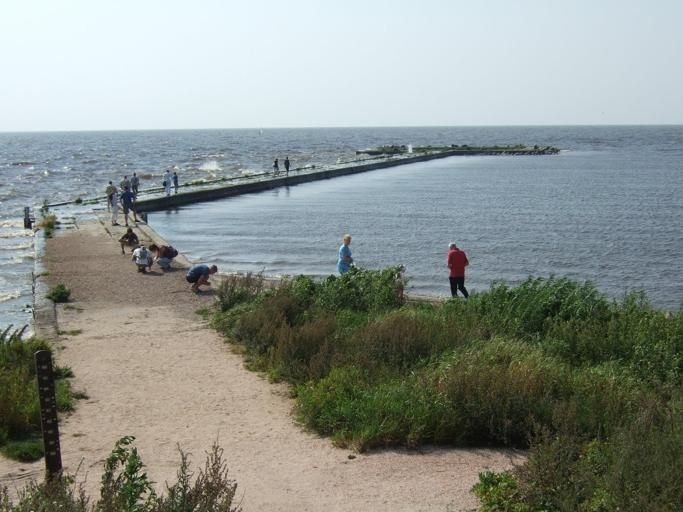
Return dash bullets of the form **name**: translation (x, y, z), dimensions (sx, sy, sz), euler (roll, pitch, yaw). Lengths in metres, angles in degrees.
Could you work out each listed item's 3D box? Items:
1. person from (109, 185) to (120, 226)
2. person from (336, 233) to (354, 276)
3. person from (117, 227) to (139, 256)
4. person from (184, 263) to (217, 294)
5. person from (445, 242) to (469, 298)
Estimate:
- **person**: translation (-8.553, -2.041, 32.177), dimensions (0.372, 1.500, 2.331), euler (1, 12, -15)
- **person**: translation (0.097, -0.024, 23.681), dimensions (0.506, 1.626, 0.584), euler (-5, 36, -3)
- **person**: translation (-6.407, -0.481, 25.761), dimensions (0.691, 0.991, 0.969), euler (-3, 0, -14)
- **person**: translation (-3.514, 0.476, 21.464), dimensions (0.667, 0.596, 1.135), euler (1, 12, -13)
- **person**: translation (2.808, 0.351, 20.756), dimensions (0.531, 1.430, 1.695), euler (6, 12, 8)
